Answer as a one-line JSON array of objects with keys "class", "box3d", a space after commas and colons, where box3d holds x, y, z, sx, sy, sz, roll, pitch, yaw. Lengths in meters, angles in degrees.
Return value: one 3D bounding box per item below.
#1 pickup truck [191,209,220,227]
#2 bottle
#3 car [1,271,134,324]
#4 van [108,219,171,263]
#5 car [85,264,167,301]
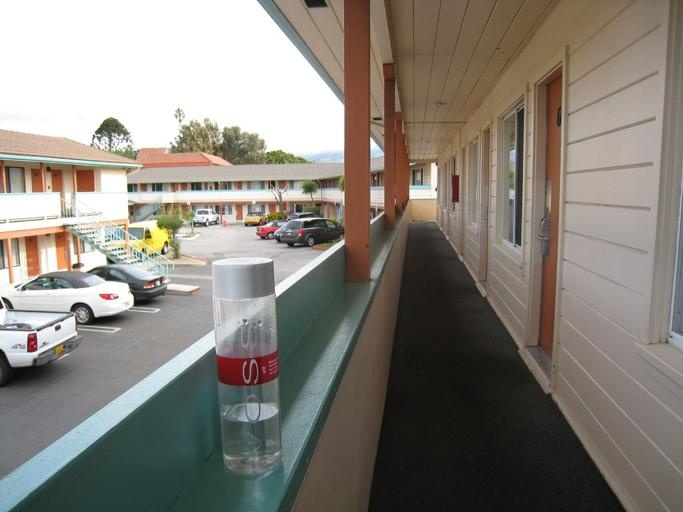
[{"class": "pickup truck", "box3d": [-11.791, -3.325, 40.368, 1.424, 1.355, 2.914, 1, 11, 17]}, {"class": "bottle", "box3d": [-0.243, 0.295, 1.218, 0.157, 0.558, 0.083, -4, 9, -16]}, {"class": "car", "box3d": [-5.493, 0.811, 9.336, 2.106, 0.806, 1.034, 7, 3, -1]}, {"class": "van", "box3d": [-9.082, -0.655, 21.229, 1.567, 1.462, 3.075, 3, 9, 7]}, {"class": "car", "box3d": [-5.473, 0.510, 11.684, 1.875, 0.705, 0.875, 10, 9, 16]}]
